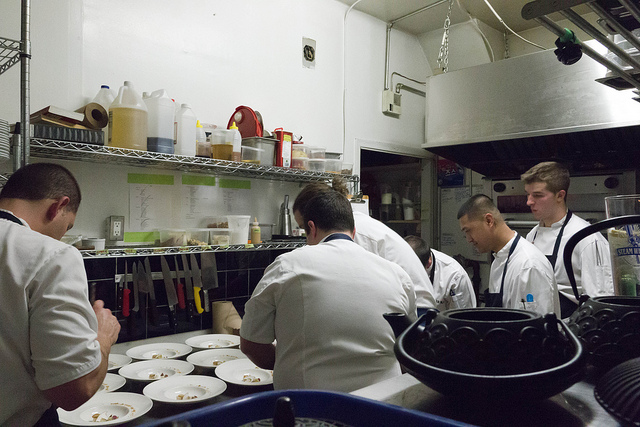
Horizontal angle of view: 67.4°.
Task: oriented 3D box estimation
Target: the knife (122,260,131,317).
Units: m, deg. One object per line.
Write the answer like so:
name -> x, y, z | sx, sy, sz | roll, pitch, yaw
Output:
knife -> -1.163, 0.446, 2.856 | 0.038, 0.339, 0.086 | -1, 4, -23

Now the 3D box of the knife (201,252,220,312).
knife -> -0.737, 0.412, 3.199 | 0.135, 0.027, 0.602 | -11, 37, -5

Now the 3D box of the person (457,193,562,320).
person -> 1.220, 0.218, 3.013 | 0.498, 0.902, 0.855 | -6, -18, 7

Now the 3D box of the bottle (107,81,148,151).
bottle -> -1.043, -0.555, 2.610 | 0.224, 0.393, 0.226 | 2, 5, 0

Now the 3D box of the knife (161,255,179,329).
knife -> -0.941, 0.488, 3.005 | 0.081, 0.482, 0.022 | -6, -3, -32

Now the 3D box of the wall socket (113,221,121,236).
wall socket -> -1.202, 0.077, 2.824 | 0.010, 0.088, 0.045 | 4, 5, 37

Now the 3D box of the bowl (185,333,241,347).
bowl -> -0.646, 0.768, 2.866 | 0.261, 0.058, 0.259 | 1, 1, 0

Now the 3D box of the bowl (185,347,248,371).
bowl -> -0.541, 0.776, 2.506 | 0.224, 0.053, 0.226 | 2, 2, 0

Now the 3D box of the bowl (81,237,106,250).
bowl -> -1.203, 0.143, 2.549 | 0.095, 0.045, 0.094 | 0, 0, 0

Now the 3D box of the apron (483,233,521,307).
apron -> 1.108, 0.430, 2.910 | 0.164, 0.640, 0.155 | 6, 11, 25

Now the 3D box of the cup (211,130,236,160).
cup -> -0.611, -0.444, 2.982 | 0.170, 0.204, 0.119 | 2, -6, 1

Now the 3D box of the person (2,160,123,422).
person -> -0.949, 0.293, 1.748 | 0.386, 0.981, 0.394 | -1, 4, -23

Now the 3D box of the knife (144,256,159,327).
knife -> -1.030, 0.462, 2.914 | 0.066, 0.462, 0.038 | -8, -7, -7

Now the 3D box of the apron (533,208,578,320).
apron -> 1.591, 0.326, 3.230 | 0.230, 0.720, 0.460 | 2, 4, 16

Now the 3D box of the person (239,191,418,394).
person -> 0.035, 0.566, 2.281 | 0.729, 1.309, 0.715 | 4, 10, 6

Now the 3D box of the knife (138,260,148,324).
knife -> -1.086, 0.479, 2.906 | 0.053, 0.374, 0.067 | 1, 4, 6

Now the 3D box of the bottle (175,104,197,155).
bottle -> -0.774, -0.514, 2.758 | 0.109, 0.301, 0.103 | 1, 4, 0

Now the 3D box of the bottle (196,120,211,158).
bottle -> -0.715, -0.478, 2.928 | 0.085, 0.225, 0.139 | 0, 4, -12

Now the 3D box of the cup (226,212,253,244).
cup -> -0.550, 0.085, 3.195 | 0.199, 0.208, 0.201 | 1, 0, 0

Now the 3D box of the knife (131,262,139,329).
knife -> -1.111, 0.487, 2.863 | 0.044, 0.384, 0.119 | -1, 4, -22

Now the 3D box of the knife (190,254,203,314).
knife -> -0.805, 0.455, 3.112 | 0.087, 0.372, 0.033 | -5, -4, -37
